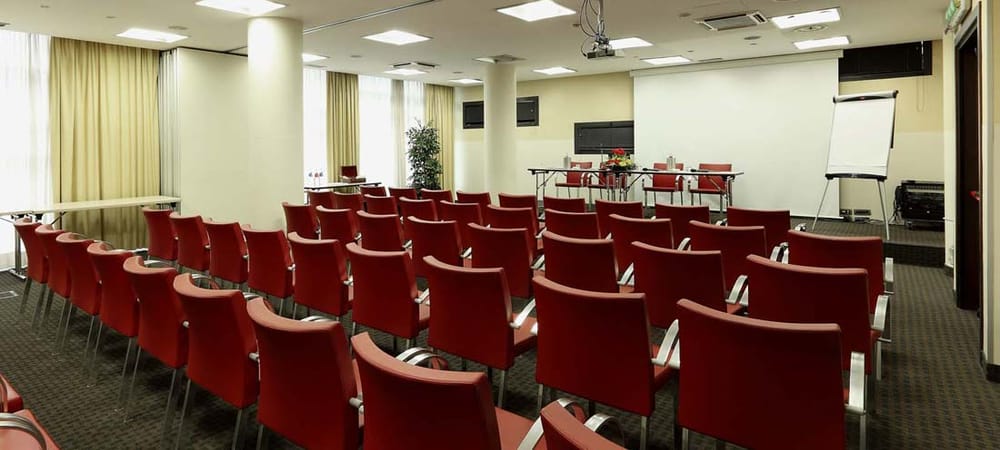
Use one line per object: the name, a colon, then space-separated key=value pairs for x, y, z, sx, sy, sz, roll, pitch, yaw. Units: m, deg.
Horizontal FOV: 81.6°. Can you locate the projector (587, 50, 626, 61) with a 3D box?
projector: x=2.244 y=-3.633 z=12.360 sx=0.614 sy=0.144 sz=0.272 roll=4 pitch=10 yaw=20

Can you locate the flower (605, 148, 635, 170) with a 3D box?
flower: x=3.488 y=-1.768 z=16.428 sx=0.913 sy=0.563 sz=0.921 roll=3 pitch=3 yaw=39
